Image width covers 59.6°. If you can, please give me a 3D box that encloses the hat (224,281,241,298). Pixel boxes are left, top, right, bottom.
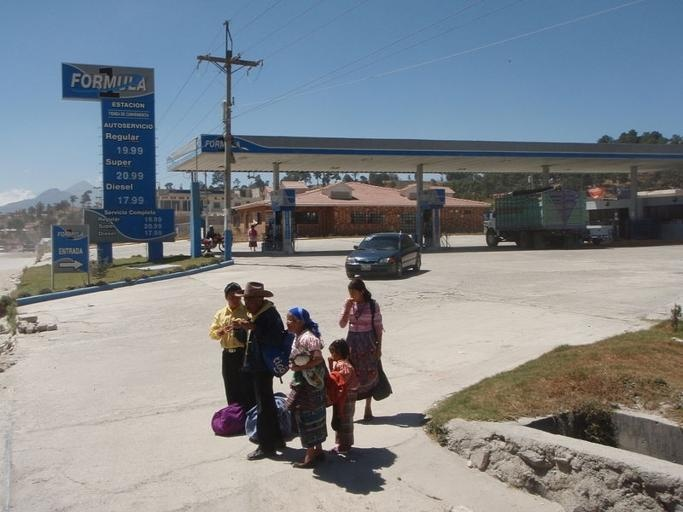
[{"bbox_3d":[-1.427,0.440,7.826,0.189,0.221,0.254,5,-29,-9],"label":"hat"}]

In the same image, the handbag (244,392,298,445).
[{"bbox_3d":[-0.893,2.057,7.628,0.550,0.394,0.768,4,17,-18],"label":"handbag"}]

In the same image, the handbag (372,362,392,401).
[{"bbox_3d":[0.567,1.706,8.135,0.208,0.545,0.324,1,6,27],"label":"handbag"}]

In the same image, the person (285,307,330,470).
[{"bbox_3d":[-0.386,1.518,6.996,0.454,1.810,0.450,-2,5,-2],"label":"person"}]

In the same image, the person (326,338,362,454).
[{"bbox_3d":[0.019,1.708,7.305,0.330,1.336,0.520,-2,5,-2],"label":"person"}]

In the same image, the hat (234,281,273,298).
[{"bbox_3d":[-1.026,0.423,7.383,0.299,0.120,0.334,0,-6,15],"label":"hat"}]

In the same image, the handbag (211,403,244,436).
[{"bbox_3d":[-1.478,2.126,7.793,0.319,0.290,0.421,-5,-6,8],"label":"handbag"}]

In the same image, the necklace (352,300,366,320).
[{"bbox_3d":[0.224,0.739,8.172,0.127,0.209,0.213,3,-16,0],"label":"necklace"}]

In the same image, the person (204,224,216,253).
[{"bbox_3d":[-7.151,-0.925,32.291,0.649,1.444,3.635,-3,5,-11],"label":"person"}]

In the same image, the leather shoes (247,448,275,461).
[{"bbox_3d":[-0.963,2.361,7.134,0.308,0.125,0.131,6,-3,-13],"label":"leather shoes"}]

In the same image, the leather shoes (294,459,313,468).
[{"bbox_3d":[-0.449,2.415,6.953,0.253,0.098,0.077,-6,-4,21],"label":"leather shoes"}]

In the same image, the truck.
[{"bbox_3d":[11.490,-2.327,35.298,3.240,2.892,6.104,-1,6,-15],"label":"truck"}]
